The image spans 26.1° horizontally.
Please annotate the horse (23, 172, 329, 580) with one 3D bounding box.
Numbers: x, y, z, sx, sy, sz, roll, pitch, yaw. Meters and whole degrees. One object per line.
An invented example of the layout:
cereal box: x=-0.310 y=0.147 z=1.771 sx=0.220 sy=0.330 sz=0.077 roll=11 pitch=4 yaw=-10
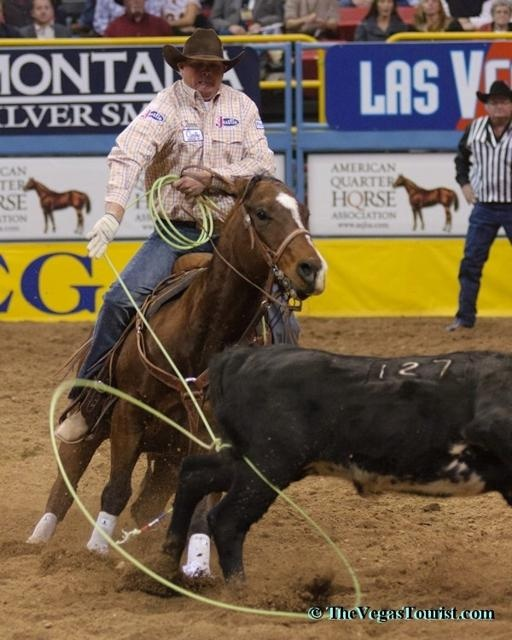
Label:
horse: x=-0.431 y=0.494 z=5.678 sx=0.856 sy=1.817 sz=2.862 roll=13 pitch=-19 yaw=-18
